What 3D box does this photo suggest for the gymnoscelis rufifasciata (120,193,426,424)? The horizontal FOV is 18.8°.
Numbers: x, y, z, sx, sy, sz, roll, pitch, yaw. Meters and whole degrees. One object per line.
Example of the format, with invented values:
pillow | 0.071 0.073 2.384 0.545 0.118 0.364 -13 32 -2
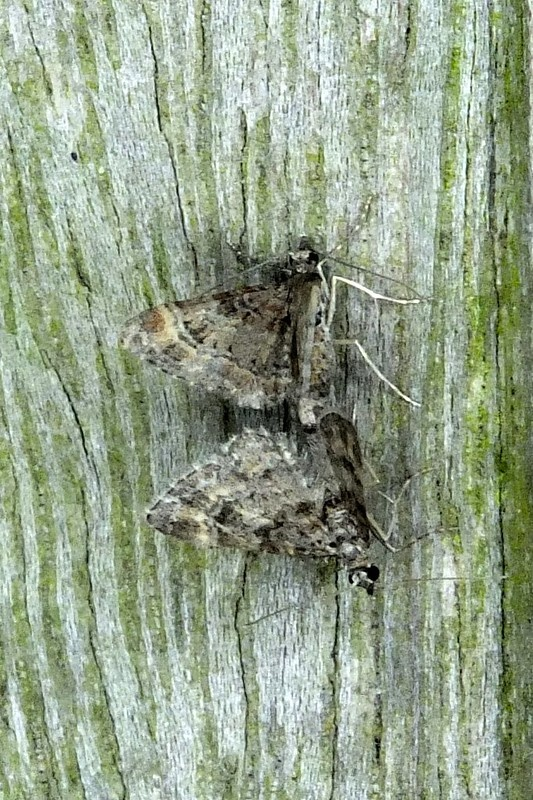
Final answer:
gymnoscelis rufifasciata | 0.080 -0.155 3.516 0.153 0.522 0.405 40 -68 6
